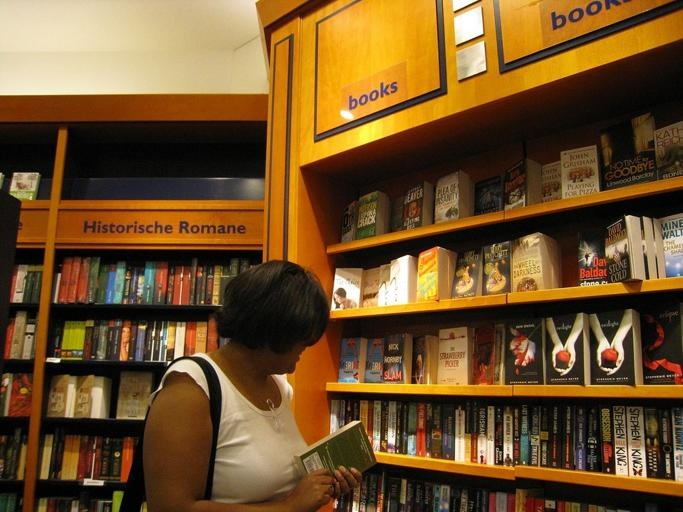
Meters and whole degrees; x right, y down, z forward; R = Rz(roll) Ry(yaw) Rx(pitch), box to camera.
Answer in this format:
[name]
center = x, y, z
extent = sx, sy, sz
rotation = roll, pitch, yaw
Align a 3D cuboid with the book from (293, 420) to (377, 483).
[book]
center = -0.022, 0.776, 2.255
extent = 0.344, 0.195, 0.078
rotation = -26, 3, -37
